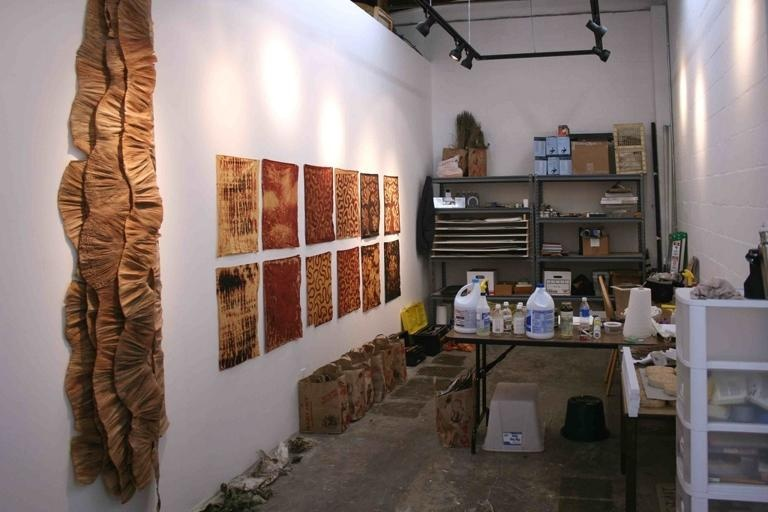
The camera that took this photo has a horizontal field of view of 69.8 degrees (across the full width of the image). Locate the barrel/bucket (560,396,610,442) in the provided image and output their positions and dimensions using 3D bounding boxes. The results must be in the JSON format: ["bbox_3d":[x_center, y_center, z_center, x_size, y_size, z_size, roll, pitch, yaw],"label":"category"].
[{"bbox_3d":[1.832,1.448,4.995,0.419,0.314,0.448,-3,5,0],"label":"barrel/bucket"}]

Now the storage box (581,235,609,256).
[{"bbox_3d":[2.970,-0.120,7.827,0.422,0.429,0.240,-1,-3,11],"label":"storage box"}]

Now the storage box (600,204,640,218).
[{"bbox_3d":[3.357,-0.626,7.685,0.498,0.159,0.323,0,8,10],"label":"storage box"}]

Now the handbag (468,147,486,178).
[{"bbox_3d":[1.394,-1.383,8.146,0.278,0.409,0.185,-2,8,-6],"label":"handbag"}]

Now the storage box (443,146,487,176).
[{"bbox_3d":[1.234,-1.417,8.212,0.699,0.525,0.394,1,7,13],"label":"storage box"}]

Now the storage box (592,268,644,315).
[{"bbox_3d":[2.686,0.392,6.301,0.517,0.808,0.582,-1,5,17],"label":"storage box"}]

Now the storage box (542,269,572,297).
[{"bbox_3d":[2.416,0.379,7.619,0.373,0.375,0.210,0,2,14],"label":"storage box"}]

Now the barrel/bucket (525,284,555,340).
[{"bbox_3d":[1.299,0.463,4.554,0.321,0.418,0.337,-1,1,0],"label":"barrel/bucket"}]

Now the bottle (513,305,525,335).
[{"bbox_3d":[1.135,0.529,4.594,0.080,0.247,0.108,5,10,43],"label":"bottle"}]

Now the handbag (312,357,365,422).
[{"bbox_3d":[-0.389,1.360,5.392,0.306,0.419,0.427,11,1,5],"label":"handbag"}]

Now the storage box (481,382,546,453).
[{"bbox_3d":[1.177,1.426,4.948,0.544,0.446,0.662,-4,0,13],"label":"storage box"}]

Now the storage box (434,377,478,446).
[{"bbox_3d":[0.650,1.380,4.947,0.325,0.601,0.408,-1,-8,-4],"label":"storage box"}]

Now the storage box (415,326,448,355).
[{"bbox_3d":[0.630,1.164,7.549,0.363,0.293,0.944,1,9,19],"label":"storage box"}]

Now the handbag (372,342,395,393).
[{"bbox_3d":[-0.011,1.270,6.136,0.190,0.554,0.570,0,-4,11],"label":"handbag"}]

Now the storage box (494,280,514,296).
[{"bbox_3d":[1.749,0.476,7.994,0.180,0.113,0.342,1,6,14],"label":"storage box"}]

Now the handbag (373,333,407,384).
[{"bbox_3d":[-0.006,1.133,6.291,0.383,0.492,0.282,14,-12,-27],"label":"handbag"}]

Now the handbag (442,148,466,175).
[{"bbox_3d":[1.107,-1.416,8.211,0.381,0.368,0.099,5,8,32],"label":"handbag"}]

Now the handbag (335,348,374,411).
[{"bbox_3d":[-0.290,1.229,5.391,0.232,0.676,0.518,0,8,26],"label":"handbag"}]

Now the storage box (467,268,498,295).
[{"bbox_3d":[1.414,0.311,7.984,0.477,0.502,0.491,-2,-1,17],"label":"storage box"}]

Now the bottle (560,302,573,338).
[{"bbox_3d":[1.498,0.511,4.505,0.102,0.280,0.186,1,8,18],"label":"bottle"}]

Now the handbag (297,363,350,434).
[{"bbox_3d":[-0.549,1.356,5.198,0.405,0.544,0.335,0,4,12],"label":"handbag"}]

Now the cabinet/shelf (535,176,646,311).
[{"bbox_3d":[2.882,-0.172,7.533,1.820,2.355,0.734,0,0,6],"label":"cabinet/shelf"}]
